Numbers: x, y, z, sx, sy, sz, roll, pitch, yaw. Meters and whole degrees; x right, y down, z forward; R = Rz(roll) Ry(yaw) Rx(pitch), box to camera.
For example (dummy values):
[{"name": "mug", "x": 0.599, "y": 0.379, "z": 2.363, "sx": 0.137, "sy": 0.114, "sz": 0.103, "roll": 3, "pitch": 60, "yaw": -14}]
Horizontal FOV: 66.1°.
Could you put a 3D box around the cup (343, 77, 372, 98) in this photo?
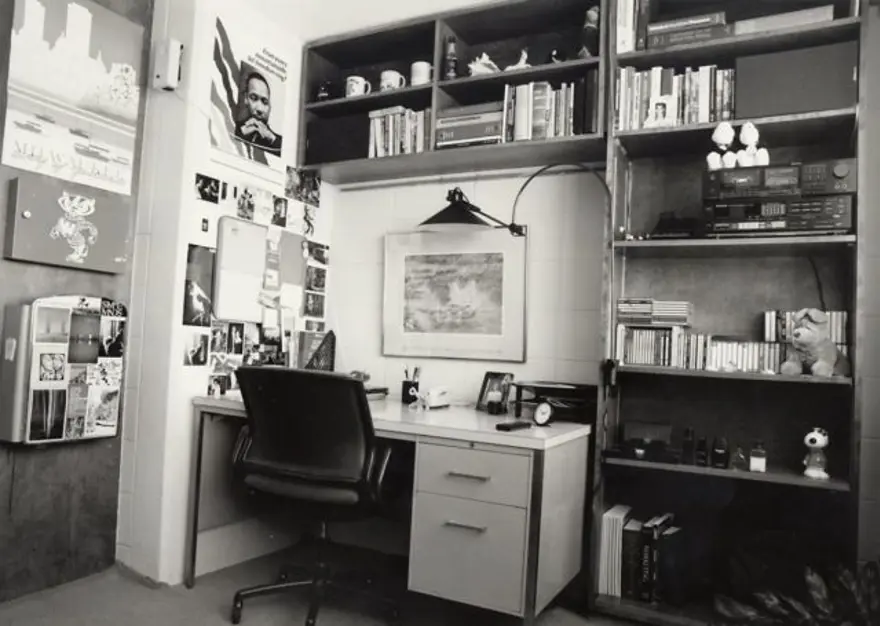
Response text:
[{"name": "cup", "x": -0.502, "y": -1.376, "z": 4.164, "sx": 0.205, "sy": 0.152, "sz": 0.133, "roll": 0, "pitch": -8, "yaw": -2}]

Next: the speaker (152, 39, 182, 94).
[{"name": "speaker", "x": -1.470, "y": -1.312, "z": 3.615, "sx": 0.224, "sy": 0.266, "sz": 0.073, "roll": 0, "pitch": -3, "yaw": 34}]

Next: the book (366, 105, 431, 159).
[{"name": "book", "x": -0.237, "y": -1.040, "z": 3.939, "sx": 0.320, "sy": 0.326, "sz": 0.177, "roll": 0, "pitch": 1, "yaw": 30}]

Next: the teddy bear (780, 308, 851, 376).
[{"name": "teddy bear", "x": 1.801, "y": 0.152, "z": 3.196, "sx": 0.304, "sy": 0.342, "sz": 0.249, "roll": 6, "pitch": -2, "yaw": -13}]

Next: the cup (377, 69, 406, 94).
[{"name": "cup", "x": -0.297, "y": -1.391, "z": 4.060, "sx": 0.193, "sy": 0.146, "sz": 0.150, "roll": 1, "pitch": 2, "yaw": 16}]

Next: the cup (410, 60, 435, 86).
[{"name": "cup", "x": -0.091, "y": -1.391, "z": 3.969, "sx": 0.176, "sy": 0.129, "sz": 0.113, "roll": 4, "pitch": -6, "yaw": -39}]

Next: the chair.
[{"name": "chair", "x": -0.609, "y": 0.855, "z": 3.119, "sx": 0.764, "sy": 1.216, "sz": 0.517, "roll": 0, "pitch": -3, "yaw": 27}]

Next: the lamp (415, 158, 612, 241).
[{"name": "lamp", "x": 0.446, "y": -0.622, "z": 3.664, "sx": 1.015, "sy": 0.422, "sz": 0.402, "roll": 6, "pitch": 1, "yaw": 11}]

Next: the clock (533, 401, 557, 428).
[{"name": "clock", "x": 0.512, "y": 0.504, "z": 3.337, "sx": 0.101, "sy": 0.105, "sz": 0.026, "roll": -15, "pitch": -21, "yaw": 43}]

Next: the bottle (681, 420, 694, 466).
[{"name": "bottle", "x": 1.208, "y": 0.651, "z": 3.293, "sx": 0.056, "sy": 0.166, "sz": 0.108, "roll": 0, "pitch": -3, "yaw": 20}]

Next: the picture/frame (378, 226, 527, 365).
[{"name": "picture/frame", "x": 0.115, "y": -0.094, "z": 4.030, "sx": 0.809, "sy": 0.718, "sz": 0.028, "roll": 1, "pitch": -2, "yaw": 22}]

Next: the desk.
[{"name": "desk", "x": 0.042, "y": 0.906, "z": 3.201, "sx": 1.747, "sy": 1.114, "sz": 1.015, "roll": -1, "pitch": -7, "yaw": 23}]

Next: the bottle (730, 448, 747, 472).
[{"name": "bottle", "x": 1.436, "y": 0.713, "z": 3.253, "sx": 0.087, "sy": 0.121, "sz": 0.089, "roll": 1, "pitch": 3, "yaw": 0}]

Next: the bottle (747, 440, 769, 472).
[{"name": "bottle", "x": 1.508, "y": 0.679, "z": 3.210, "sx": 0.072, "sy": 0.140, "sz": 0.201, "roll": 0, "pitch": -3, "yaw": 27}]

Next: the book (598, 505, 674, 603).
[{"name": "book", "x": 0.976, "y": 1.182, "z": 3.531, "sx": 0.375, "sy": 0.501, "sz": 0.402, "roll": 3, "pitch": 1, "yaw": 10}]
